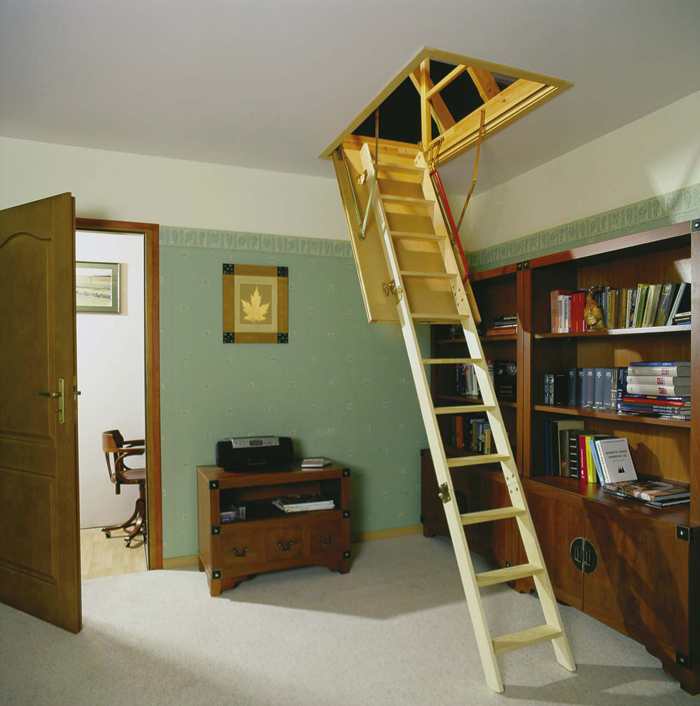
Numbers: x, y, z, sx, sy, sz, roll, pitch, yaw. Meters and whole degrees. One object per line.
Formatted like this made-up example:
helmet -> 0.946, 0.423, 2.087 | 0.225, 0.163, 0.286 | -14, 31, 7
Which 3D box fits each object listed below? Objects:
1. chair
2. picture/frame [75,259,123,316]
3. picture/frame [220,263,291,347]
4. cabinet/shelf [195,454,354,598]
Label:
chair -> -1.535, 0.950, 4.540 | 0.522, 0.731, 0.513 | -6, -4, -17
picture/frame -> -1.954, -0.498, 4.822 | 0.512, 0.532, 0.035 | 1, -2, -23
picture/frame -> -0.655, -0.318, 4.160 | 0.550, 0.653, 0.042 | 0, -1, -25
cabinet/shelf -> -0.465, 1.037, 3.937 | 0.875, 0.665, 0.481 | -1, 4, -21
